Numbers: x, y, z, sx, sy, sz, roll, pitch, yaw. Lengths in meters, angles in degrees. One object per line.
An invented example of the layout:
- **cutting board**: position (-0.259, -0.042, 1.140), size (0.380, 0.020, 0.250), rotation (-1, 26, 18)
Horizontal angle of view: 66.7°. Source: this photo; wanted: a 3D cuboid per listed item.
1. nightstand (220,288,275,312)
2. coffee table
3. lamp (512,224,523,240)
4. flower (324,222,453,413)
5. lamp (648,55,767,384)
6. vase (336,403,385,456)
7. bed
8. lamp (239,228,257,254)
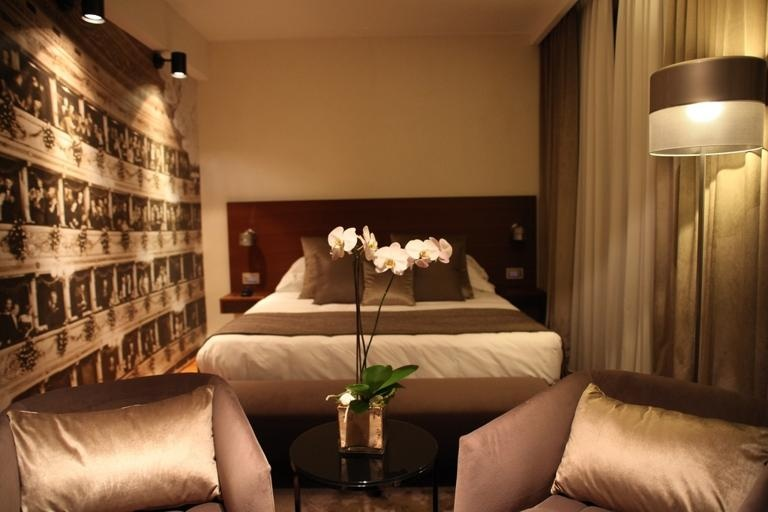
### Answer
- **nightstand**: position (-1.382, 0.464, 5.736), size (0.495, 0.238, 0.380), rotation (-2, 3, -1)
- **coffee table**: position (-0.101, 1.063, 3.169), size (0.628, 0.507, 0.592), rotation (-1, 9, -2)
- **lamp**: position (1.316, -0.225, 5.726), size (0.114, 0.174, 0.132), rotation (-1, 4, 9)
- **flower**: position (-0.040, 0.286, 3.640), size (0.611, 0.946, 1.354), rotation (-3, 3, -8)
- **lamp**: position (1.961, -0.183, 3.532), size (0.626, 1.933, 0.361), rotation (0, 4, 25)
- **vase**: position (-0.116, 0.868, 3.025), size (0.235, 0.249, 0.246), rotation (1, 0, -1)
- **bed**: position (0.019, 0.672, 6.465), size (3.450, 2.946, 1.860), rotation (-1, 4, 2)
- **lamp**: position (-1.358, -0.161, 5.802), size (0.196, 0.278, 0.150), rotation (4, 13, 8)
